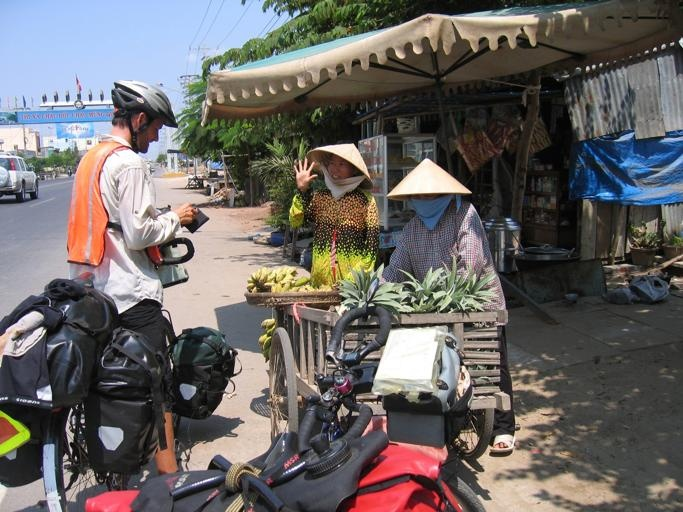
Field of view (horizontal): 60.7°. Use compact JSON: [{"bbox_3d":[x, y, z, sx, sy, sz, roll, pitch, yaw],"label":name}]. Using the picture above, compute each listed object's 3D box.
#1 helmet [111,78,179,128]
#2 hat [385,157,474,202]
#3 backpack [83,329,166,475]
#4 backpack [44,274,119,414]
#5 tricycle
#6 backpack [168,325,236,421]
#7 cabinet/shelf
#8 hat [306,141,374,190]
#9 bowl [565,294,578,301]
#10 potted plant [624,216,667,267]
[{"bbox_3d":[-1.402,-1.086,4.177,0.455,0.240,0.318,8,3,-16],"label":"helmet"},{"bbox_3d":[0.685,-0.613,4.551,0.726,0.293,0.710,-5,4,-20],"label":"hat"},{"bbox_3d":[-1.380,0.898,3.825,0.479,0.867,0.628,2,14,-12],"label":"backpack"},{"bbox_3d":[-1.539,0.482,3.431,0.366,0.653,0.463,-9,15,-23],"label":"backpack"},{"bbox_3d":[0.530,1.059,4.839,1.373,1.161,2.275,0,-6,0],"label":"tricycle"},{"bbox_3d":[-1.202,0.982,4.909,0.609,0.700,0.468,6,-2,31],"label":"backpack"},{"bbox_3d":[0.638,-1.224,9.811,0.967,1.349,0.994,-2,8,5],"label":"cabinet/shelf"},{"bbox_3d":[-0.021,-0.798,5.114,0.443,0.353,0.583,-11,16,-30],"label":"hat"},{"bbox_3d":[3.305,0.583,8.362,0.121,0.052,0.096,4,5,35],"label":"bowl"},{"bbox_3d":[5.290,-0.219,10.031,0.550,0.715,0.439,-5,14,-7],"label":"potted plant"}]
